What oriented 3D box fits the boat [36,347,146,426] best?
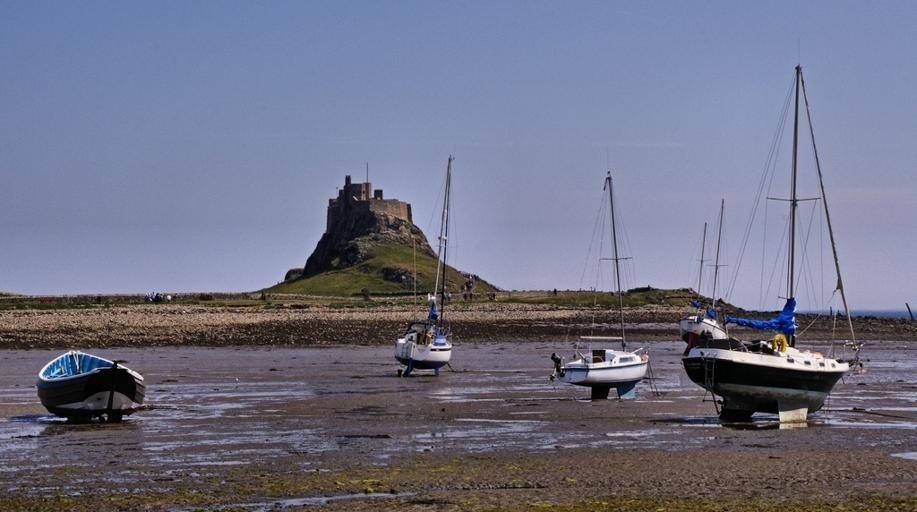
[{"bbox_3d":[-16.479,6.035,57.883,4.540,3.208,2.918,0,-3,8],"label":"boat"}]
